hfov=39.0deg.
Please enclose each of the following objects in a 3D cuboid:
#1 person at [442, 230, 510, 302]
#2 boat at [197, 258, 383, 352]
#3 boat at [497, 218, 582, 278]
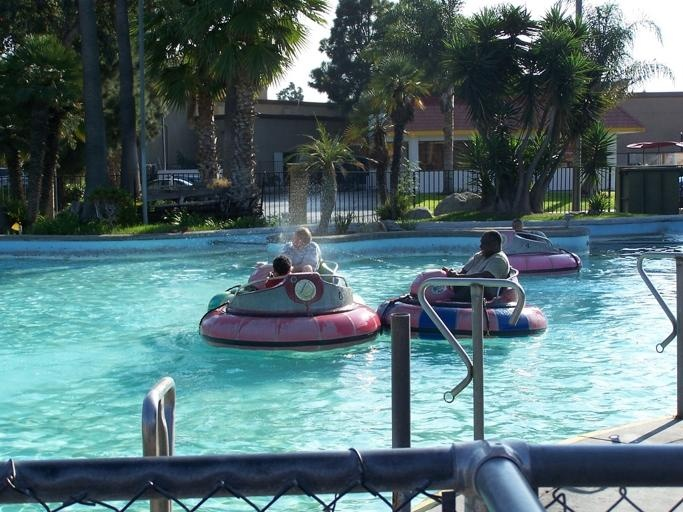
[{"bbox_3d":[1.996,0.186,13.724,0.907,1.036,0.979,8,12,39],"label":"person"},{"bbox_3d":[-0.674,0.715,13.697,2.519,1.020,1.380,1,9,3],"label":"boat"},{"bbox_3d":[3.991,-0.059,18.981,1.255,0.586,1.265,-2,7,-9],"label":"boat"}]
